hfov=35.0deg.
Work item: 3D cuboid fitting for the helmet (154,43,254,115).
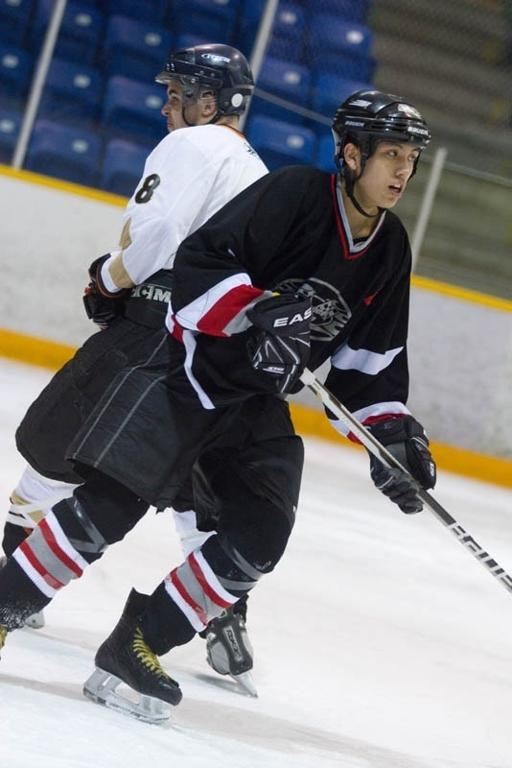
[{"bbox_3d":[-0.109,-0.800,2.129,0.275,0.176,0.205,3,5,3],"label":"helmet"}]
